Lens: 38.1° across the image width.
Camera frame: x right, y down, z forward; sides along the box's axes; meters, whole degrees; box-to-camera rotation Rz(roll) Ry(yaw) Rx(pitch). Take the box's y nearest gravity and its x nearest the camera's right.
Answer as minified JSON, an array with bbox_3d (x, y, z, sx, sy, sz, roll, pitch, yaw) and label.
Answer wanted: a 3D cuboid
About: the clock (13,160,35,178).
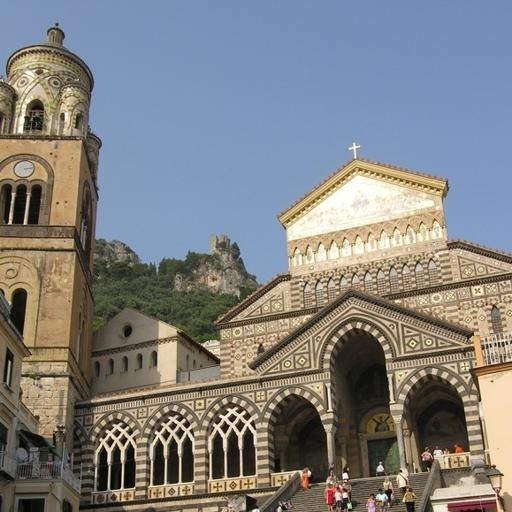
[{"bbox_3d":[-12.015,-4.414,38.431,0.794,0.880,0.121,-10,-29,-11],"label":"clock"}]

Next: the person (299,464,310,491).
[{"bbox_3d":[1.882,8.724,28.632,0.422,0.910,0.823,-3,-27,3],"label":"person"}]
